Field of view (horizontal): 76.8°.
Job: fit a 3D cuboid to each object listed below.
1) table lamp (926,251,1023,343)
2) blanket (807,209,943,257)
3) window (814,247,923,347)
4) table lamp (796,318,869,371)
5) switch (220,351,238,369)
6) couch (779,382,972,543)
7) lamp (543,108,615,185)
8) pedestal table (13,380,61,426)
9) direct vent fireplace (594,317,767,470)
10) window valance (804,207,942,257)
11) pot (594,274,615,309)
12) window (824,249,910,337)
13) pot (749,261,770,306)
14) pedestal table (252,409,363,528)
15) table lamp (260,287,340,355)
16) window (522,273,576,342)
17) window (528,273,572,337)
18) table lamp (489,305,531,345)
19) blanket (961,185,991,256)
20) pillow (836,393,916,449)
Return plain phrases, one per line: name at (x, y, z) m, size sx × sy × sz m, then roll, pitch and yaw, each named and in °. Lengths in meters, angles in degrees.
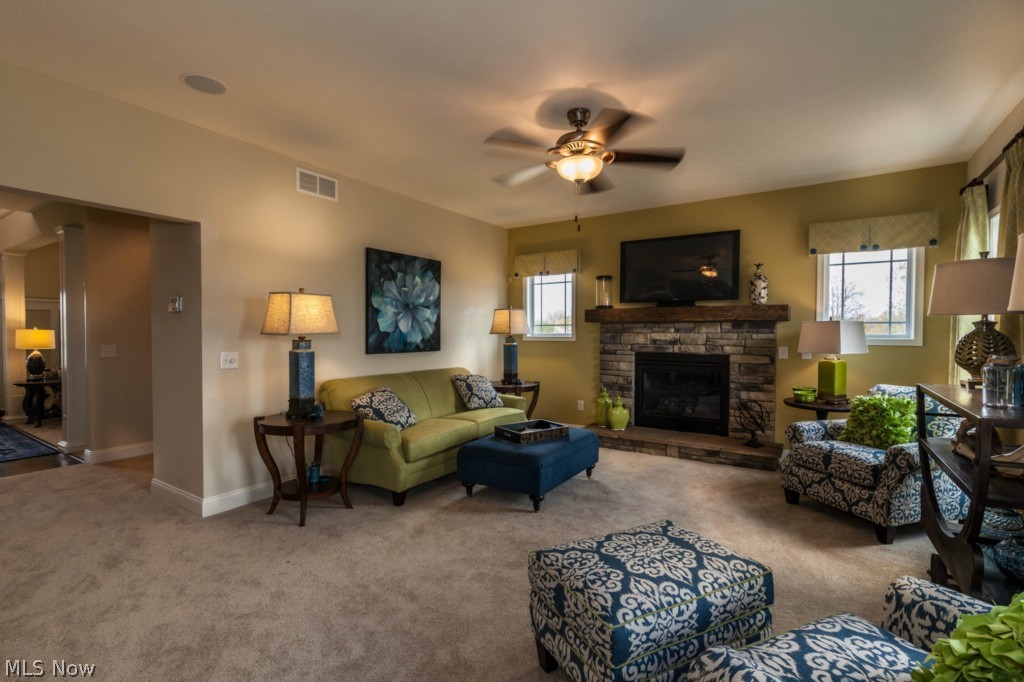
table lamp at (2.998, -0.328, 4.231) m, size 0.468 × 0.388 × 0.454 m, roll 1°, pitch -1°, yaw 1°
blanket at (3.470, -1.023, 6.271) m, size 1.116 × 0.350 × 0.082 m, roll -2°, pitch 20°, yaw 25°
window at (3.517, -0.432, 6.309) m, size 1.060 × 1.141 × 0.083 m, roll 0°, pitch -1°, yaw 32°
table lamp at (2.953, 0.005, 6.028) m, size 0.488 × 0.724 × 0.483 m, roll 4°, pitch 7°, yaw 38°
switch at (-2.404, 0.161, 5.479) m, size 0.051 × 0.136 × 0.154 m, roll 1°, pitch -1°, yaw 32°
couch at (3.064, 0.923, 5.449) m, size 1.094 × 1.027 × 1.149 m, roll -1°, pitch 5°, yaw -25°
lamp at (0.511, -1.491, 4.934) m, size 0.599 × 0.512 × 0.589 m, roll -2°, pitch 6°, yaw 2°
pedestal table at (-6.111, 0.763, 8.377) m, size 0.722 × 0.492 × 0.711 m, roll 2°, pitch -1°, yaw -39°
direct vent fireplace at (1.813, 0.467, 7.168) m, size 2.124 × 1.594 × 0.762 m, roll 0°, pitch 9°, yaw 37°
window valance at (3.470, -1.024, 6.273) m, size 1.133 × 0.366 × 0.061 m, roll -3°, pitch 37°, yaw 21°
pot at (1.079, -0.577, 7.617) m, size 0.190 × 0.382 × 0.199 m, roll -1°, pitch 2°, yaw 0°
window at (3.514, -0.473, 6.355) m, size 0.928 × 1.043 × 0.081 m, roll 0°, pitch 0°, yaw 33°
pot at (2.576, -0.597, 6.754) m, size 0.178 × 0.449 × 0.209 m, roll 0°, pitch 2°, yaw 19°
pedestal table at (-1.888, 1.074, 5.534) m, size 0.609 × 0.635 × 0.625 m, roll -8°, pitch -4°, yaw 0°
table lamp at (-1.756, -0.161, 5.510) m, size 0.510 × 0.531 × 0.641 m, roll 5°, pitch 4°, yaw 43°
window at (0.488, -0.403, 8.148) m, size 0.912 × 1.108 × 0.083 m, roll -1°, pitch -2°, yaw 32°
window at (0.497, -0.445, 8.195) m, size 0.831 × 1.066 × 0.077 m, roll -1°, pitch -3°, yaw 33°
table lamp at (-0.021, -0.173, 7.423) m, size 0.415 × 0.390 × 0.261 m, roll 0°, pitch 2°, yaw 27°
blanket at (4.022, -1.065, 5.672) m, size 0.238 × 0.680 × 0.135 m, roll -3°, pitch -17°, yaw 37°
pillow at (3.037, 0.655, 5.480) m, size 0.207 × 0.493 × 0.523 m, roll 21°, pitch -20°, yaw -2°
